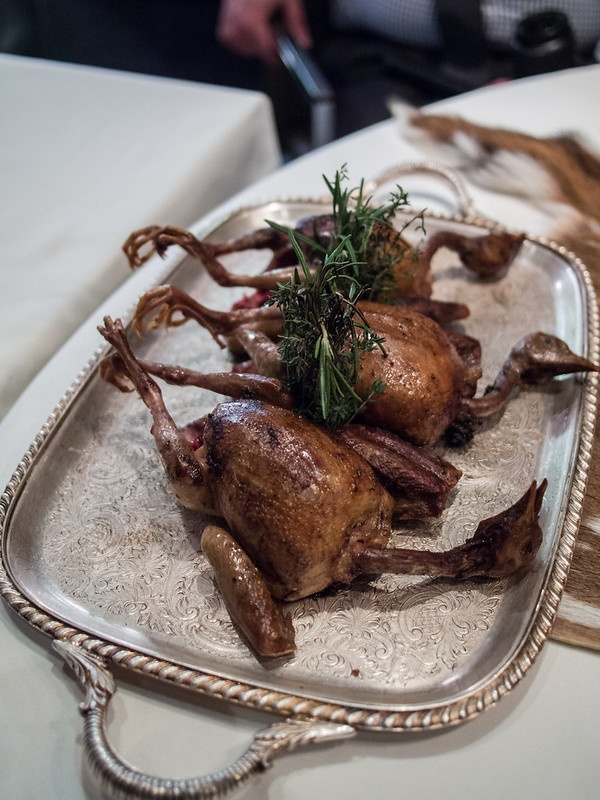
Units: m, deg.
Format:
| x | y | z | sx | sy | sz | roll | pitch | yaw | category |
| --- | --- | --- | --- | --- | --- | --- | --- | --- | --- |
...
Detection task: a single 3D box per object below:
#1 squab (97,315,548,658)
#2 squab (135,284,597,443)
| x | y | z | sx | sy | sz | roll | pitch | yaw | category |
| --- | --- | --- | --- | --- | --- | --- | --- | --- | --- |
| -0.047 | 0.213 | 1.995 | 1.112 | 0.358 | 0.579 | 30 | 59 | 4 | squab |
| 0.113 | -0.133 | 2.251 | 1.127 | 0.245 | 0.520 | 17 | 18 | 5 | squab |
